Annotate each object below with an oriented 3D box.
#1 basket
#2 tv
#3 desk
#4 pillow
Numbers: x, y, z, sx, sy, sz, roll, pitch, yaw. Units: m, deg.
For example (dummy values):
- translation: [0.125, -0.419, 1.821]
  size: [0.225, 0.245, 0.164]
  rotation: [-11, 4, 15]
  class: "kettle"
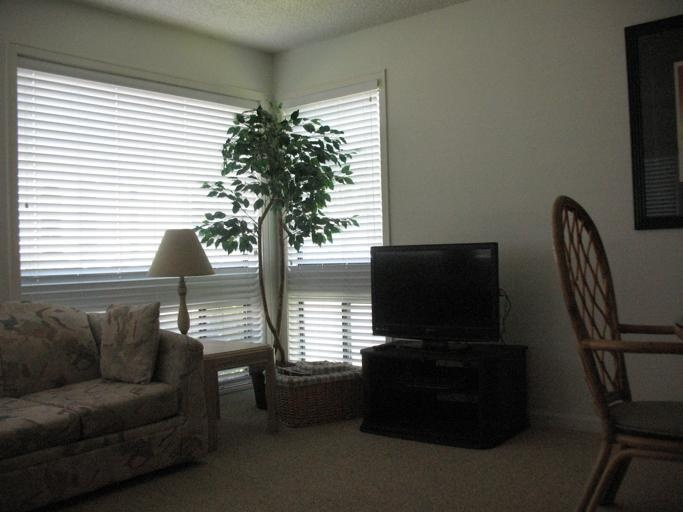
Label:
- translation: [-0.237, 1.009, 3.990]
  size: [0.577, 0.288, 0.444]
  rotation: [-5, -7, -37]
  class: "basket"
- translation: [0.619, 0.262, 3.680]
  size: [0.912, 0.682, 0.227]
  rotation: [-1, 1, 27]
  class: "tv"
- translation: [-0.776, 0.813, 3.892]
  size: [0.490, 0.471, 0.720]
  rotation: [-6, 10, -17]
  class: "desk"
- translation: [-1.312, 0.562, 3.267]
  size: [0.380, 0.429, 0.153]
  rotation: [-8, -23, 26]
  class: "pillow"
